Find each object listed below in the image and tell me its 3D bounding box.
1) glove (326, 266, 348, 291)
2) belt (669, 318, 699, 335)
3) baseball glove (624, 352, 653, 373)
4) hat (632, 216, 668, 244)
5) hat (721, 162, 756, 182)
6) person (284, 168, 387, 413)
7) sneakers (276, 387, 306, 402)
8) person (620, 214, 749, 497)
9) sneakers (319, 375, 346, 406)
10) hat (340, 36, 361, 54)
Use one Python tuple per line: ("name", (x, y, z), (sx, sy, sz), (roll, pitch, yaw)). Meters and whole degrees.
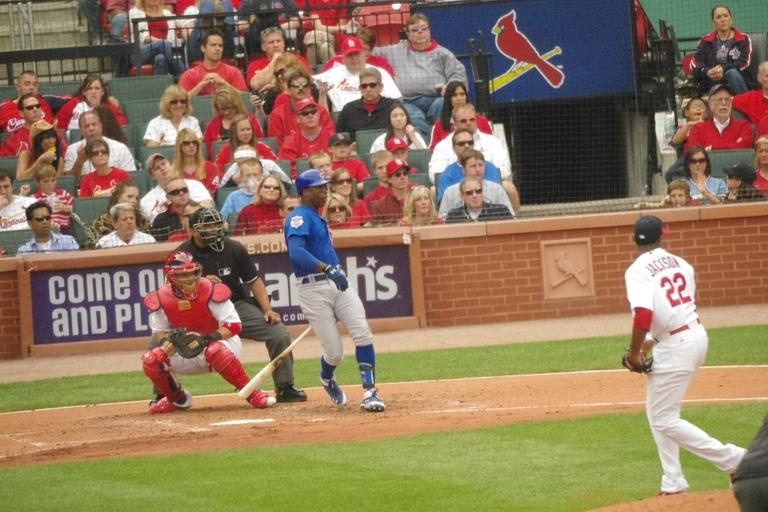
("glove", (-0.694, 0.266, 24.274), (0.248, 0.416, 0.161), (-16, 33, 36))
("belt", (4.088, 0.968, 22.174), (0.239, 0.058, 0.240), (-26, -4, 27))
("baseball glove", (3.437, 1.454, 22.221), (0.220, 0.149, 0.351), (19, -16, -35))
("hat", (3.674, -0.381, 22.495), (0.313, 0.276, 0.435), (7, 44, 24))
("hat", (6.431, -1.542, 29.514), (0.476, 0.245, 0.311), (23, 17, 18))
("person", (-0.813, 0.518, 24.428), (1.175, 3.720, 0.570), (-5, 5, -1))
("sneakers", (-1.439, 2.146, 25.100), (0.565, 0.234, 0.186), (-3, 5, 1))
("person", (3.911, 1.298, 22.089), (1.334, 3.723, 1.160), (-1, 6, 35))
("sneakers", (-0.760, 2.053, 24.749), (0.226, 0.606, 0.241), (-40, 7, -2))
("hat", (-0.621, -4.124, 31.094), (0.298, 0.225, 0.417), (-6, 17, -1))
